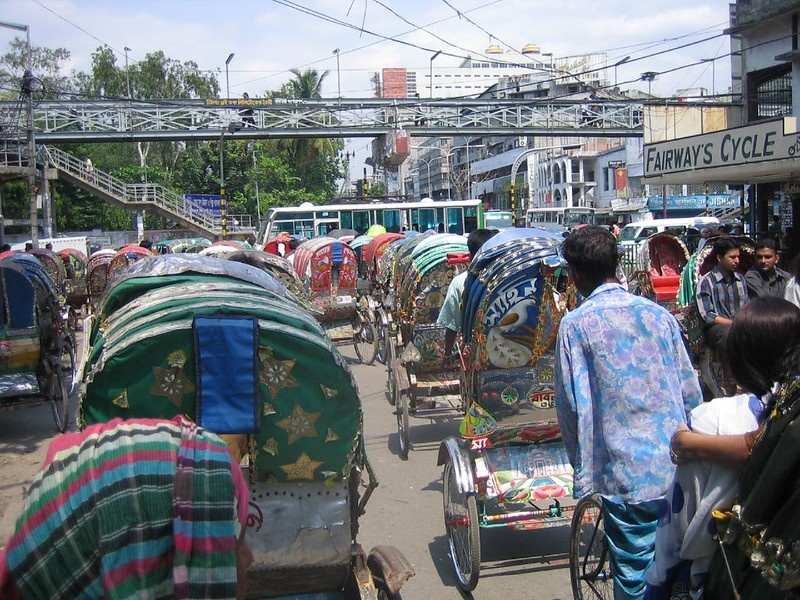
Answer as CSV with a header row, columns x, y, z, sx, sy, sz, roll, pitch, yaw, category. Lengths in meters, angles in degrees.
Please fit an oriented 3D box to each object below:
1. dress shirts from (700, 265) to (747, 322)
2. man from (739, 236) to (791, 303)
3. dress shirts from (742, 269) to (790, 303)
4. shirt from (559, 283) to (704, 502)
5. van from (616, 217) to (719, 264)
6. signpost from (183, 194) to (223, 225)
x,y,z,sx,sy,sz,roll,pitch,yaw,category
3.013,-0.031,8.522,0.500,0.544,0.321,-5,6,4,dress shirts
3.352,-0.209,8.434,0.436,0.648,0.388,2,-6,-15,man
3.018,-0.112,7.645,0.247,0.274,0.148,1,-8,5,dress shirts
1.279,0.564,5.183,0.652,1.585,0.759,-5,7,11,shirt
8.249,-1.975,27.434,2.770,1.466,1.462,-4,4,36,van
-7.653,-3.479,35.839,1.904,1.261,0.093,-1,13,-39,signpost
